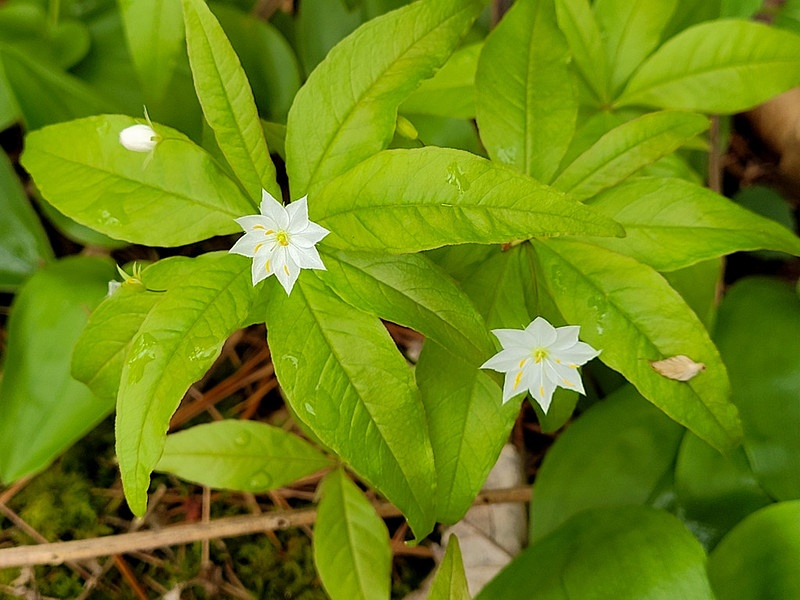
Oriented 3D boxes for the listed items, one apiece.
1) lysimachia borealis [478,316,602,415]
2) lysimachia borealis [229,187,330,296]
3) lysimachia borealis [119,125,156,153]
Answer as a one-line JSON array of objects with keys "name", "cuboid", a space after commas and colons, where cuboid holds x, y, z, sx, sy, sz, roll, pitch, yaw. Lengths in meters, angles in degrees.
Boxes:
[{"name": "lysimachia borealis", "cuboid": [0.274, 0.108, 1.606, 0.059, 0.221, 0.198, -18, 3, -33]}, {"name": "lysimachia borealis", "cuboid": [-0.223, -0.118, 1.488, 0.176, 0.052, 0.207, -11, -25, -9]}, {"name": "lysimachia borealis", "cuboid": [-0.511, -0.306, 1.529, 0.072, 0.040, 0.033, -13, -4, 3]}]
